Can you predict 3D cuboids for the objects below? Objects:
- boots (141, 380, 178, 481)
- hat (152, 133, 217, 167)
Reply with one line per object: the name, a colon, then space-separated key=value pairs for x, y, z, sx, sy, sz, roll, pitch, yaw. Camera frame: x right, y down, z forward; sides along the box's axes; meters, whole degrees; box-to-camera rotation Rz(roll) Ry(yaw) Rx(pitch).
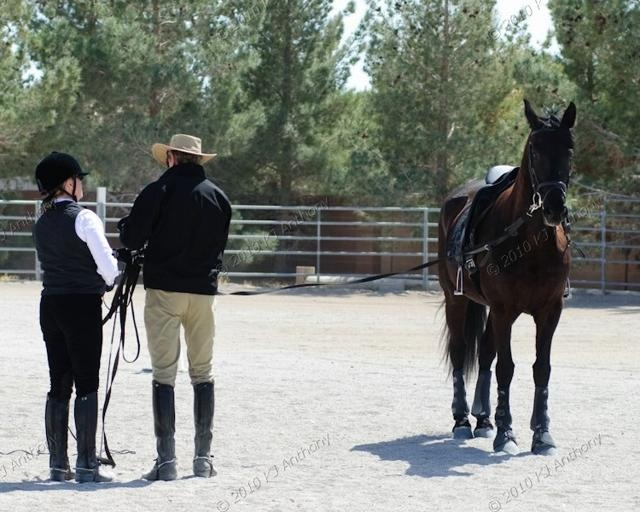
boots: x=-2.350 y=2.548 z=22.190 sx=0.465 sy=1.222 sz=0.330 roll=-1 pitch=0 yaw=-7
hat: x=-2.022 y=-1.621 z=22.583 sx=0.936 sy=0.311 sz=0.880 roll=3 pitch=-3 yaw=37
